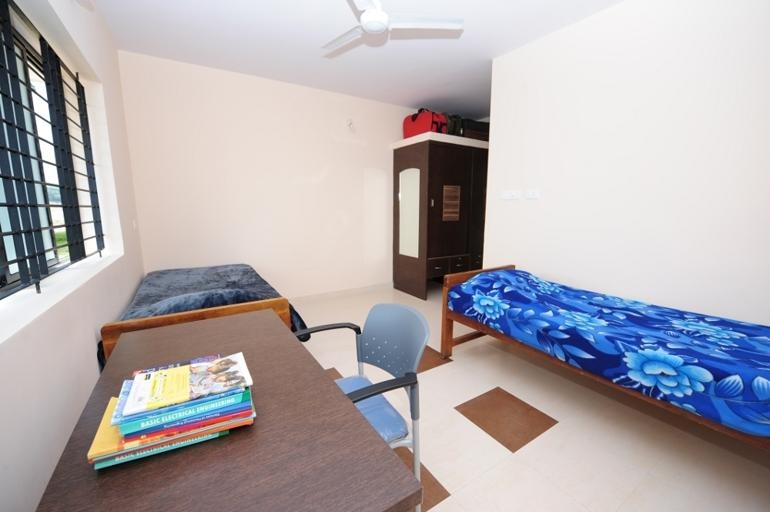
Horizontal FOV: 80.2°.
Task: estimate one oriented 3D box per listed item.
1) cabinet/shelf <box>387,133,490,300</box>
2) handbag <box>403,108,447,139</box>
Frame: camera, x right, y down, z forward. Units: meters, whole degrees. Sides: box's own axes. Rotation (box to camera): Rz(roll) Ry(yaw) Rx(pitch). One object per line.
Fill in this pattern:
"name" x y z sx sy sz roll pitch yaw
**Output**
"cabinet/shelf" 0.701 -0.566 6.210 1.121 2.072 0.847 -9 18 -37
"handbag" 0.513 -1.778 5.800 0.540 0.369 0.411 -14 26 -21
